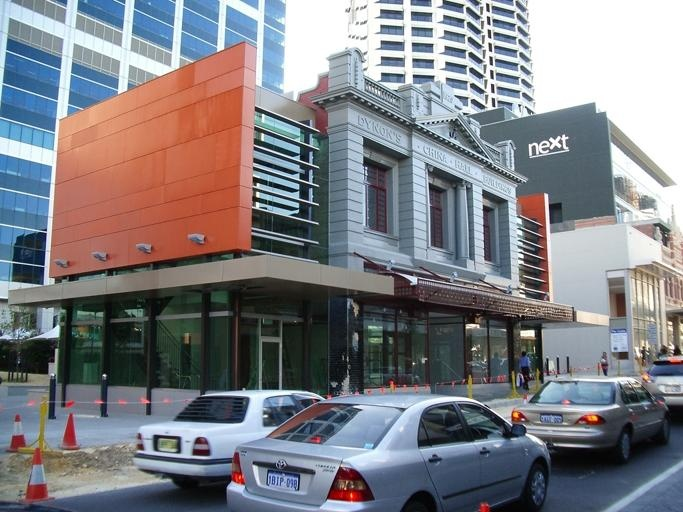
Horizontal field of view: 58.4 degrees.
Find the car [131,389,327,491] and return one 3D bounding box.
[{"bbox_3d":[-1.791,2.831,10.721,1.561,1.133,3.484,-4,-5,37],"label":"car"}]
